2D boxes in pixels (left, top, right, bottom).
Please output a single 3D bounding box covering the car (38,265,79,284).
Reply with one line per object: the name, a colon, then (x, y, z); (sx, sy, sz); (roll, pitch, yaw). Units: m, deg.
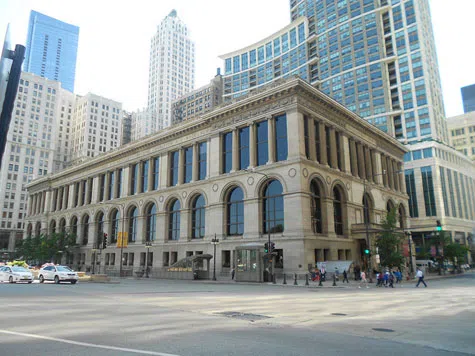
car: (-17.658, 9.355, 35.216); (4.055, 1.842, 1.272); (-8, -18, 26)
